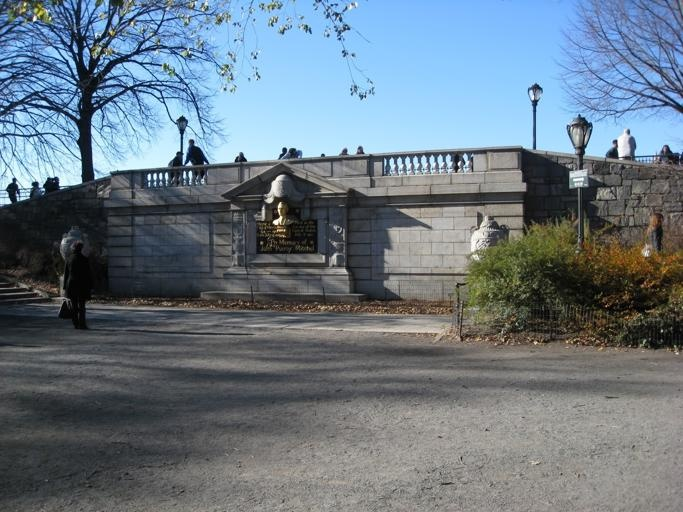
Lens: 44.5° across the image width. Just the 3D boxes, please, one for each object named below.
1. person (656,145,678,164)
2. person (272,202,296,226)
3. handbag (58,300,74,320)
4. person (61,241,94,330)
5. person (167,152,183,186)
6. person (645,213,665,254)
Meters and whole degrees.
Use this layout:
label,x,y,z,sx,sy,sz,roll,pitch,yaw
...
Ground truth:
label,x,y,z,sx,sy,sz,roll,pitch,yaw
person,10.773,-3.364,27.549,0.625,0.664,2.640,4,12,21
person,-1.963,-1.467,28.512,0.685,0.703,0.402,-3,-9,23
handbag,-6.358,1.308,19.392,0.370,0.517,0.136,4,-9,15
person,-6.138,0.693,19.364,0.617,2.158,0.944,-4,11,-19
person,-6.318,-3.399,31.699,0.510,1.149,2.693,-2,11,-11
person,9.104,-0.588,24.175,0.451,1.002,3.856,4,11,20
